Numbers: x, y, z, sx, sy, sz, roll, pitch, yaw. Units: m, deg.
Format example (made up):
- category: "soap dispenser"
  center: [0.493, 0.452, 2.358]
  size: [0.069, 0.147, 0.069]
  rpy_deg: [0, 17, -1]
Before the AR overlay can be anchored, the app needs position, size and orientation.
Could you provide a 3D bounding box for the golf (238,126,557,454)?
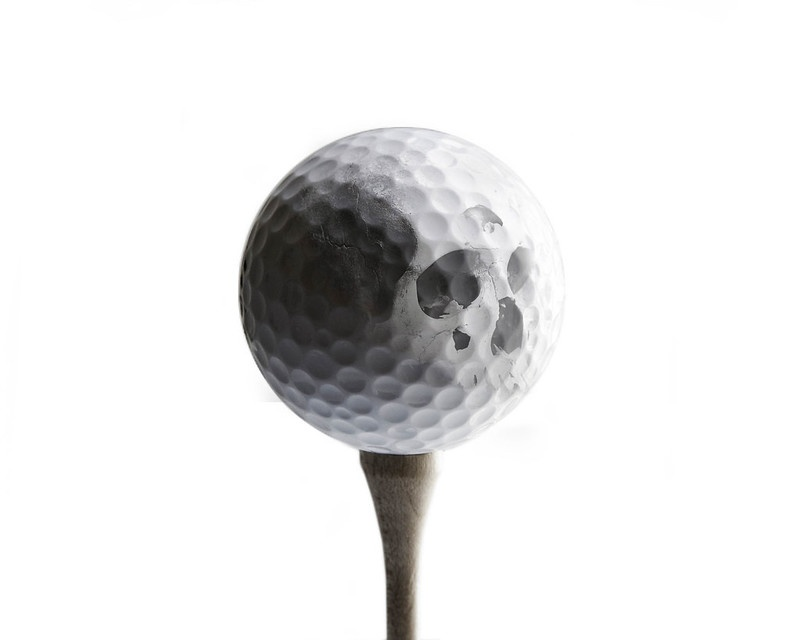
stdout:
- category: "golf"
  center: [-0.022, -0.017, 2.165]
  size: [0.581, 0.588, 0.657]
  rpy_deg: [1, -89, -4]
